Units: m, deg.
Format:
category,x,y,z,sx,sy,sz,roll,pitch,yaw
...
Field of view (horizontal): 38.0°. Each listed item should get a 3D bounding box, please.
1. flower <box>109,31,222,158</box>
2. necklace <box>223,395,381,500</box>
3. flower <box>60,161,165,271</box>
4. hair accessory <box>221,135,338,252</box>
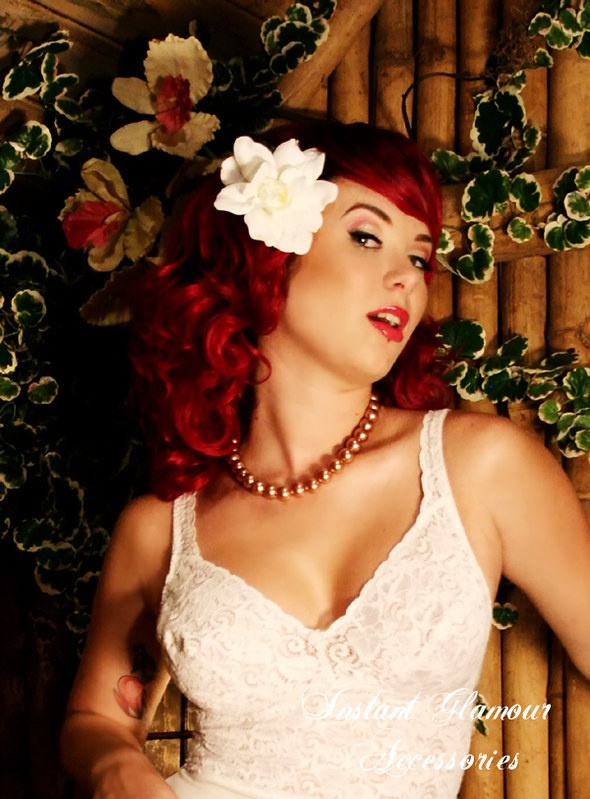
category,x,y,z,sx,sy,sz,roll,pitch,yaw
flower,-0.264,-0.619,1.769,0.279,0.248,0.115,10,34,3
necklace,0.016,0.071,1.640,0.219,0.037,0.244,2,46,44
flower,-0.391,-0.431,1.921,0.255,0.231,0.121,-4,26,6
hair accessory,-0.035,-0.379,1.552,0.205,0.175,0.175,7,29,-8
